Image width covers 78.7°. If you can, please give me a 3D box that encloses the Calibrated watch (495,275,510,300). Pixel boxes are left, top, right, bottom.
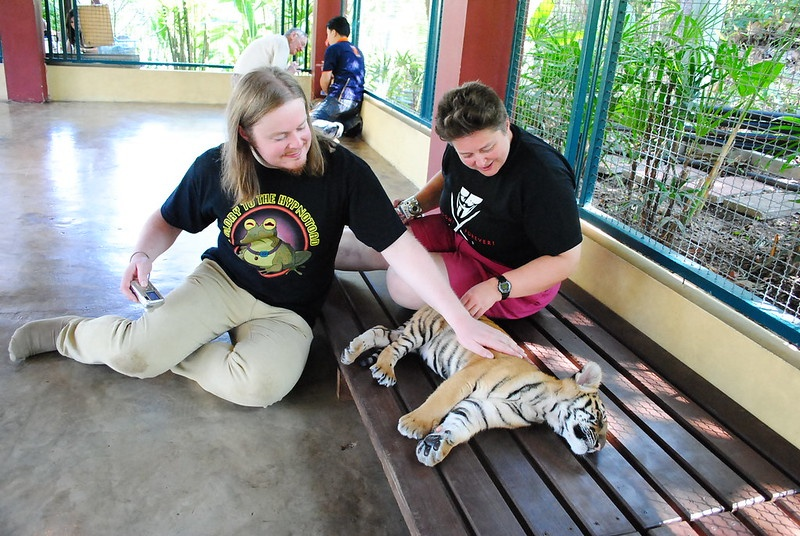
[{"bbox_3d":[0.485,0.090,2.315,0.071,0.096,0.062,-4,33,-15],"label":"Calibrated watch"}]

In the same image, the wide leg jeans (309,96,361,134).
[{"bbox_3d":[-1.000,-2.175,6.834,0.790,0.301,0.465,-8,-21,34],"label":"wide leg jeans"}]

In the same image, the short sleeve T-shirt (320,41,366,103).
[{"bbox_3d":[-0.753,-2.727,6.935,0.451,0.849,0.756,6,6,31],"label":"short sleeve T-shirt"}]

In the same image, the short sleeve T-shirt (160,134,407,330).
[{"bbox_3d":[-0.591,-0.185,2.559,1.303,1.014,0.410,5,40,-11],"label":"short sleeve T-shirt"}]

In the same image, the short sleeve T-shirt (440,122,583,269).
[{"bbox_3d":[0.516,-0.326,2.407,0.382,0.518,0.675,-36,54,-14],"label":"short sleeve T-shirt"}]

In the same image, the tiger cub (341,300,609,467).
[{"bbox_3d":[0.328,0.494,2.079,0.628,0.312,0.867,-14,32,-42],"label":"tiger cub"}]
